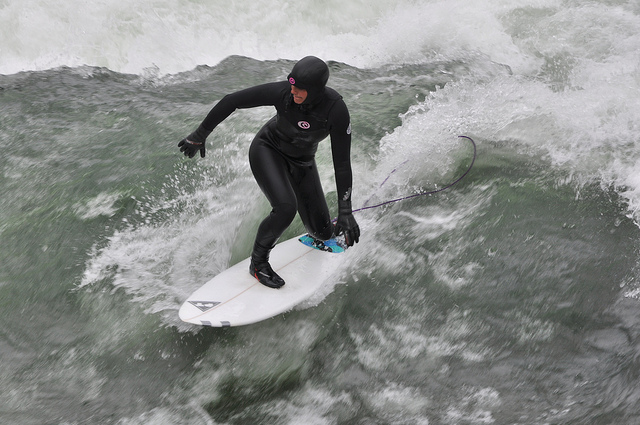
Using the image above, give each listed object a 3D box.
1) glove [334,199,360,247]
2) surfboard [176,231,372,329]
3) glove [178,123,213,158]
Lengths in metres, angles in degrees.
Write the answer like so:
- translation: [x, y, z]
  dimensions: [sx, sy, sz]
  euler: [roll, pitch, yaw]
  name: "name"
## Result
- translation: [0.318, 0.124, 7.164]
  dimensions: [0.185, 0.321, 0.504]
  euler: [-22, 114, -37]
  name: "glove"
- translation: [-0.378, 0.646, 7.618]
  dimensions: [0.938, 2.729, 0.377]
  euler: [29, 98, 6]
  name: "surfboard"
- translation: [-1.506, -0.888, 7.341]
  dimensions: [0.319, 0.493, 0.140]
  euler: [48, 35, 1]
  name: "glove"
